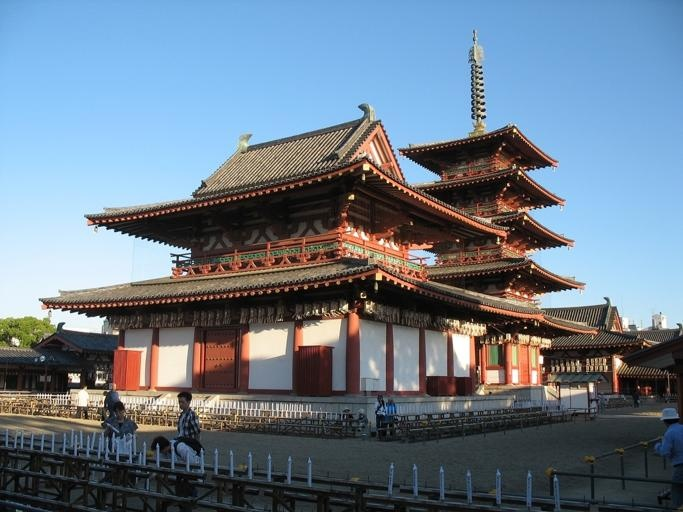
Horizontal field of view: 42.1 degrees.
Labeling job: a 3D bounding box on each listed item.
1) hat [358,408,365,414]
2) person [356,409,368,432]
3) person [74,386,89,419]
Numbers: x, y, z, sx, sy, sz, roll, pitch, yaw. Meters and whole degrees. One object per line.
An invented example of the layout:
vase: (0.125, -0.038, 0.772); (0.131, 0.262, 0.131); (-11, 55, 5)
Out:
hat: (0.798, 6.260, 35.509); (0.186, 0.187, 0.209); (14, -22, -2)
person: (0.822, 6.565, 35.323); (0.443, 0.856, 0.423); (1, -16, -7)
person: (-12.133, 6.900, 41.551); (0.512, 1.433, 1.220); (4, -15, -17)
